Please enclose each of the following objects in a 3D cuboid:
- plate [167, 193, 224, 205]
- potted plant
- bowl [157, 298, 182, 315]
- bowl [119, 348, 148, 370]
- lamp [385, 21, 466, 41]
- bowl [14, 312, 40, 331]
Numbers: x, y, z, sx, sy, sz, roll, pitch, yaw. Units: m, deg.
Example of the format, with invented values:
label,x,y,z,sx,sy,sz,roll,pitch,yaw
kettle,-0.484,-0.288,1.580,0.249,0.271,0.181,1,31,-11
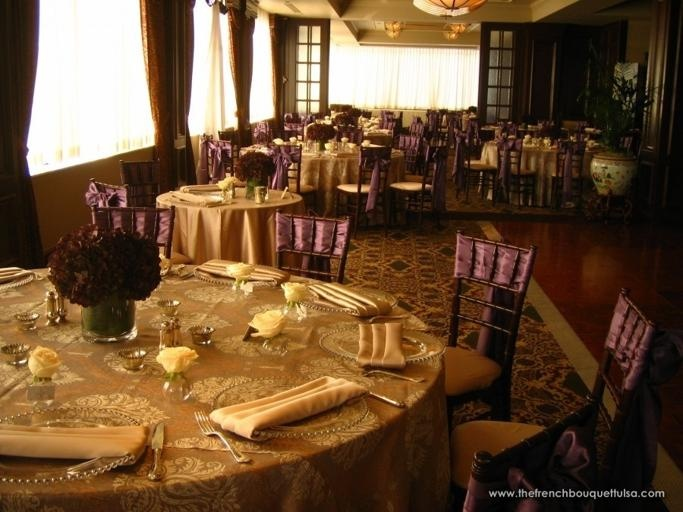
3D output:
label,x,y,z,sx,sy,sz,roll,pitch,yaw
plate,-1.260,-0.502,4.354,0.263,0.074,0.575,-15,20,-42
potted plant,4.516,-1.936,8.052,1.160,1.981,1.258,-2,11,-37
bowl,-0.710,0.204,2.076,0.072,0.052,0.066,4,11,-1
bowl,-0.682,0.326,1.624,0.066,0.041,0.070,0,0,0
lamp,3.023,-8.020,17.905,2.228,0.544,1.473,-1,10,-6
bowl,-1.182,0.245,1.892,0.063,0.043,0.065,1,-1,0
